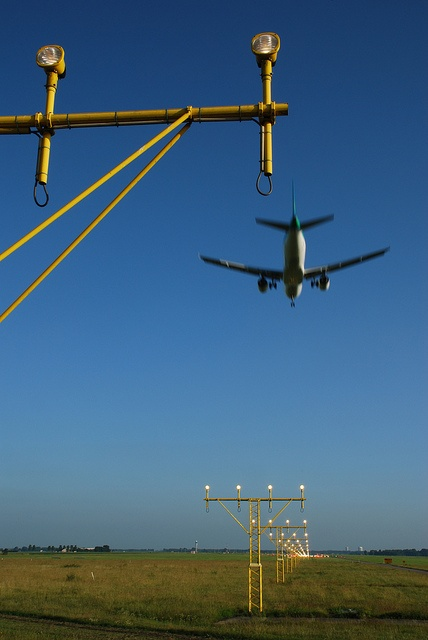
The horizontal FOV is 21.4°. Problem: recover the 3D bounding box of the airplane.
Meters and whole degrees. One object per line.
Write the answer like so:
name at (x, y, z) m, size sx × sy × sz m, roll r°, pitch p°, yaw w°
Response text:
airplane at (6.598, -4.110, 86.859) m, size 9.429 × 3.291 × 8.573 m, roll -1°, pitch -39°, yaw 3°
